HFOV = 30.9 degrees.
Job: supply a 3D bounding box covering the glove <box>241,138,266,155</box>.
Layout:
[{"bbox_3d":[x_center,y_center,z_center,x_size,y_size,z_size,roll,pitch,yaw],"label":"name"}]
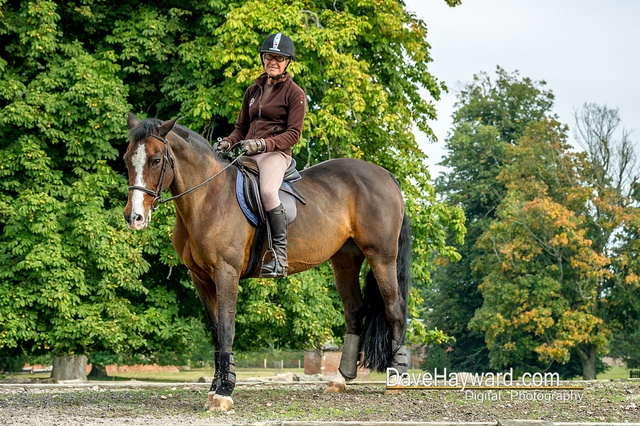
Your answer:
[{"bbox_3d":[-1.899,-1.902,33.002,0.445,0.252,0.564,1,-7,-14],"label":"glove"}]
